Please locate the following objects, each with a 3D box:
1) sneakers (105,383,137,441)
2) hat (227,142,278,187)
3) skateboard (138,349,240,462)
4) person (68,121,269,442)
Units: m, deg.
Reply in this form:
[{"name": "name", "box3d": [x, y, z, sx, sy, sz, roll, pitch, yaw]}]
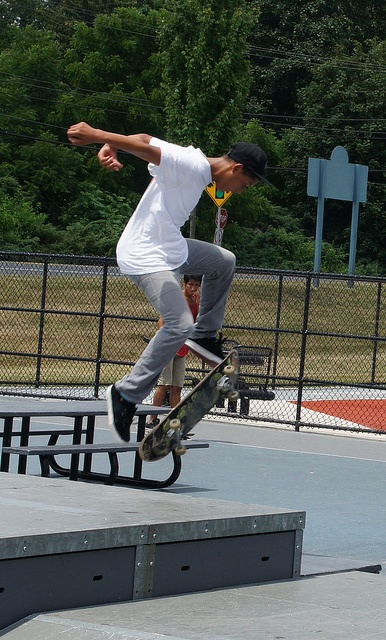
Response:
[{"name": "sneakers", "box3d": [-0.368, 0.466, 3.700, 0.141, 0.321, 0.112, -3, 18, 18]}, {"name": "hat", "box3d": [0.302, -0.842, 3.819, 0.288, 0.160, 0.187, 33, 8, -8]}, {"name": "skateboard", "box3d": [-0.006, 0.391, 3.322, 0.398, 0.546, 0.303, 5, 6, 8]}, {"name": "person", "box3d": [-0.140, -0.154, 3.734, 1.060, 1.636, 0.461, 0, 7, -38]}]
